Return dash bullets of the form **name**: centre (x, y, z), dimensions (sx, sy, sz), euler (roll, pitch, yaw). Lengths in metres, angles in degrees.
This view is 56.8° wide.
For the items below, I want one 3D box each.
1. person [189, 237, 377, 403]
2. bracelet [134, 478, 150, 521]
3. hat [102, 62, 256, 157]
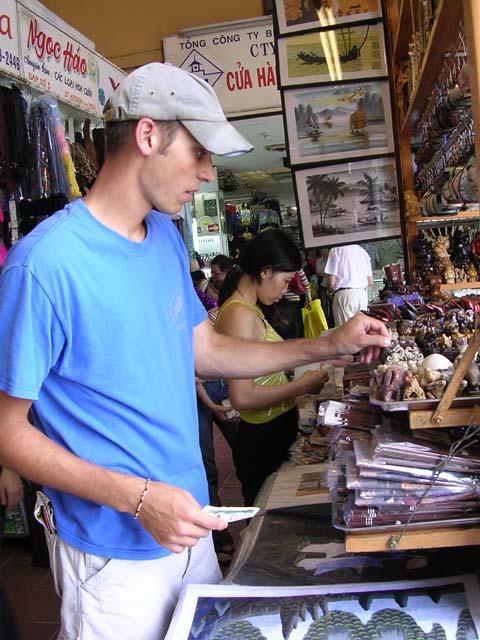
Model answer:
- **person**: centre (0.184, -0.029, 2.180), dimensions (0.715, 0.893, 0.639), euler (0, 6, 2)
- **bracelet**: centre (-0.138, 0.252, 0.622), dimensions (0.010, 0.043, 0.042), euler (19, 28, 16)
- **hat**: centre (-0.094, -0.361, 0.764), dimensions (0.263, 0.121, 0.159), euler (15, 21, 8)
